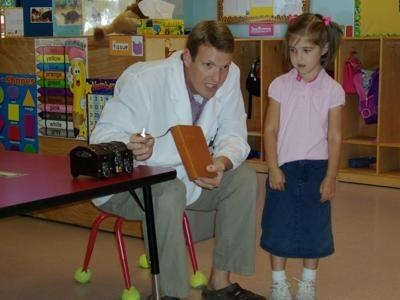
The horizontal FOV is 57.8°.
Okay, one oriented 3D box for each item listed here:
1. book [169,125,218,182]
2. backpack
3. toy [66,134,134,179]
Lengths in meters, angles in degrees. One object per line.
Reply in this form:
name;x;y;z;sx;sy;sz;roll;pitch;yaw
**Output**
book;-0.019;0.009;1.680;0.151;0.250;0.192;4;6;44
backpack;1.935;-0.636;4.190;0.382;0.575;0.191;4;5;34
toy;-0.354;-0.009;1.293;0.125;0.116;0.175;6;12;33
